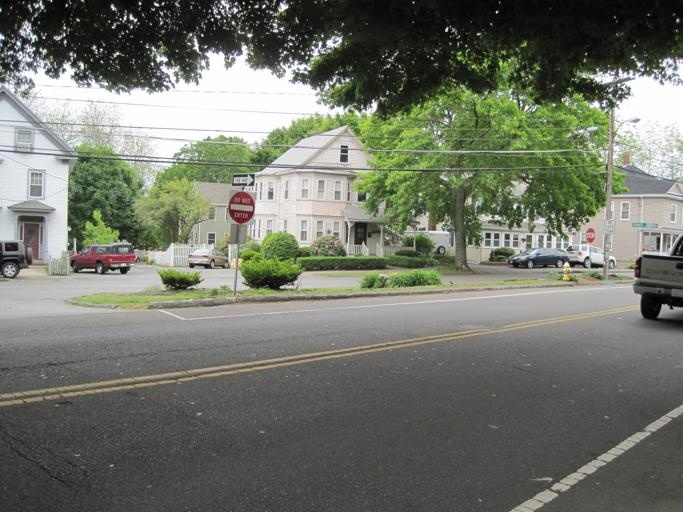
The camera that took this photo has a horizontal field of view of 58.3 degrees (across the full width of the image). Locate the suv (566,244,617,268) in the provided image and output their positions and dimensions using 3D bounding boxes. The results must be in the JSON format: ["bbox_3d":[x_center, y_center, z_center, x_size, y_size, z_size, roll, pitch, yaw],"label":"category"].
[{"bbox_3d":[18.354,0.033,45.559,3.950,1.823,1.866,-2,3,-28],"label":"suv"}]

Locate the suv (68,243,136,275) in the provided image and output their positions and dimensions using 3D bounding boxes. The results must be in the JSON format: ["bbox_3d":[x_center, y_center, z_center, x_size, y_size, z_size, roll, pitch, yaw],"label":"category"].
[{"bbox_3d":[-13.813,0.112,34.917,3.327,1.445,1.707,5,2,39],"label":"suv"}]

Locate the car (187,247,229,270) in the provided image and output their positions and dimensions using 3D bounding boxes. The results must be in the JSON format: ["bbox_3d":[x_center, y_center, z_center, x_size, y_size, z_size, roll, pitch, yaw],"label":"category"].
[{"bbox_3d":[-8.584,0.127,40.492,1.193,0.994,2.561,0,3,17],"label":"car"}]

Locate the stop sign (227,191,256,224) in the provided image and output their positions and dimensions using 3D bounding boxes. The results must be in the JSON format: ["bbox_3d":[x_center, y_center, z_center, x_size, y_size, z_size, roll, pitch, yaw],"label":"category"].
[{"bbox_3d":[-2.926,-1.403,17.817,0.842,0.977,0.440,-3,7,-34],"label":"stop sign"}]

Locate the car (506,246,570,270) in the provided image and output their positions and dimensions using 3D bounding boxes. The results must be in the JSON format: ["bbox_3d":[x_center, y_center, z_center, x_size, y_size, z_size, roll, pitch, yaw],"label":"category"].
[{"bbox_3d":[15.057,0.159,46.913,4.233,1.394,1.471,0,6,-9],"label":"car"}]
